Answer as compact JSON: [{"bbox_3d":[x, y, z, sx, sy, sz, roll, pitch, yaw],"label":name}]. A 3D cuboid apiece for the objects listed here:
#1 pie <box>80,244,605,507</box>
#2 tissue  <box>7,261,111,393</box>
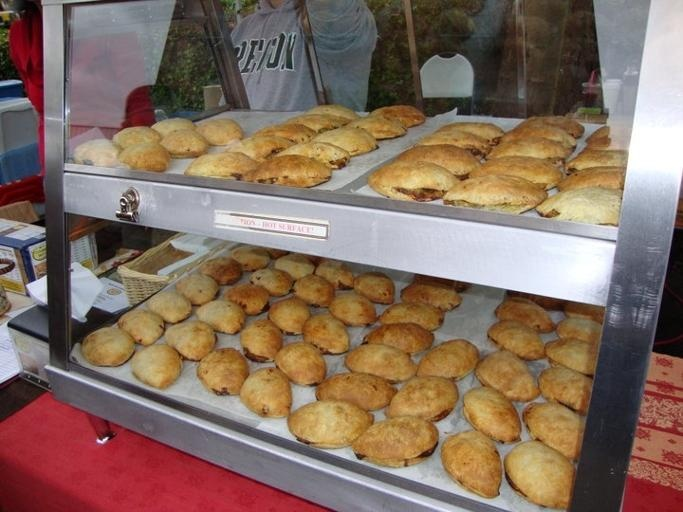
[{"bbox_3d":[0.161,0.317,1.453,1.094,0.082,0.624,11,30,23],"label":"pie"},{"bbox_3d":[-0.884,0.239,1.500,0.362,0.199,0.345,-25,45,-26],"label":"tissue "}]
